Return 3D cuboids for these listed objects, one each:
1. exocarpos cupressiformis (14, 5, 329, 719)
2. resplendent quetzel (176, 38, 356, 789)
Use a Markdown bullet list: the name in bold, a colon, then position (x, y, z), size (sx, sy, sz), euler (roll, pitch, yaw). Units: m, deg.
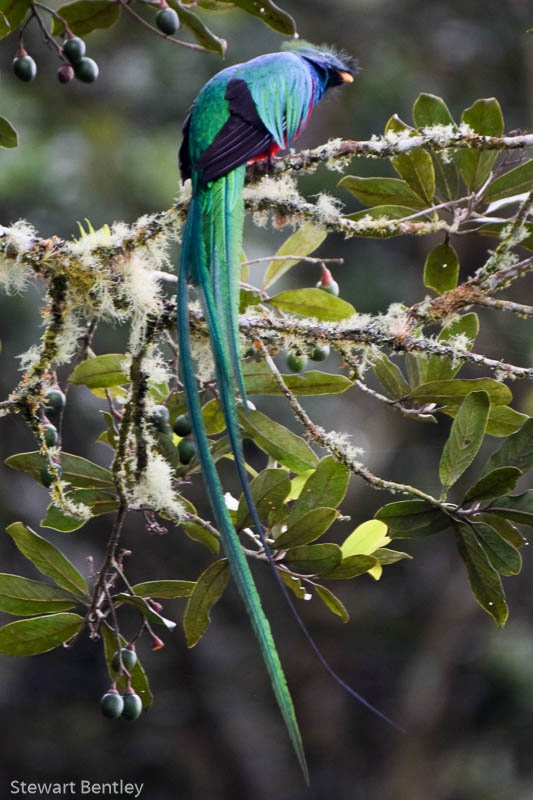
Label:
- **exocarpos cupressiformis**: position (-0.101, -0.278, 2.805), size (0.588, 1.895, 0.907), euler (0, -9, -12)
- **resplendent quetzel**: position (0.087, -0.059, 2.872), size (0.661, 1.570, 0.960), euler (0, 10, -4)
